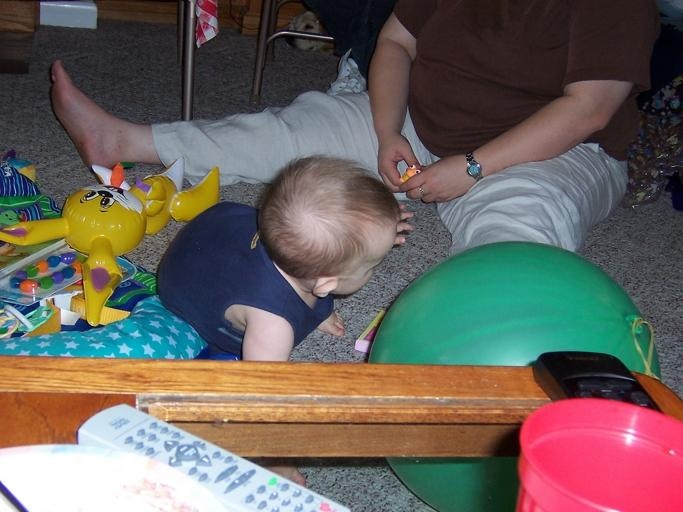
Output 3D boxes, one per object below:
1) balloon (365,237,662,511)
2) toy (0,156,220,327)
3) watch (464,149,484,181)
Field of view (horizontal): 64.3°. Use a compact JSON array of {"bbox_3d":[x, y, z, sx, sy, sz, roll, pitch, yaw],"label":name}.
[{"bbox_3d":[0.198,0.225,0.940,0.481,0.347,0.416,7,75,-12],"label":"balloon"},{"bbox_3d":[-0.490,-0.053,1.296,0.372,0.165,0.415,27,36,15],"label":"toy"},{"bbox_3d":[0.327,-0.224,1.346,0.033,0.055,0.058,-38,55,-12],"label":"watch"}]
